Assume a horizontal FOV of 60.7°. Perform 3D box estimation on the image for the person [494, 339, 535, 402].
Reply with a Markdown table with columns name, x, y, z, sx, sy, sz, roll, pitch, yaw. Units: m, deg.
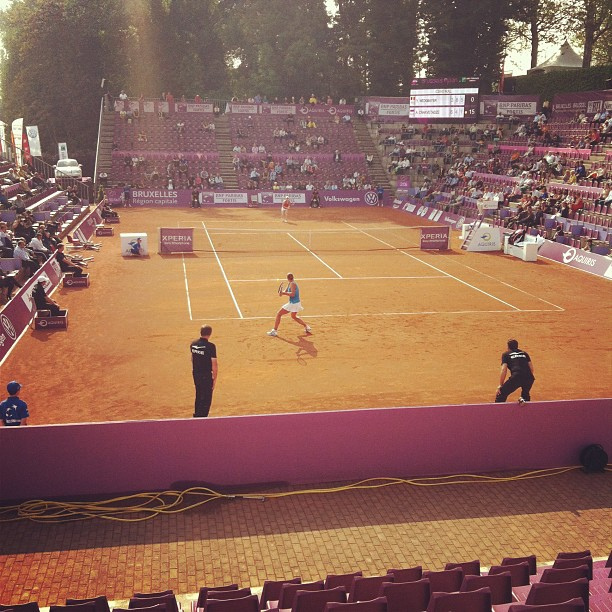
| name | x | y | z | sx | sy | sz | roll | pitch | yaw |
| --- | --- | --- | --- | --- | --- | --- | --- | --- | --- |
| person | 4.058 | 1.283 | 10.145 | 0.630 | 1.244 | 0.911 | 5 | 10 | 21 |

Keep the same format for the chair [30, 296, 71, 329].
| name | x | y | z | sx | sy | sz | roll | pitch | yaw |
| --- | --- | --- | --- | --- | --- | --- | --- | --- | --- |
| chair | -7.637 | 0.200 | 15.696 | 1.045 | 0.905 | 0.730 | -1 | 9 | -15 |

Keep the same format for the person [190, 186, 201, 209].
| name | x | y | z | sx | sy | sz | roll | pitch | yaw |
| --- | --- | --- | --- | --- | --- | --- | --- | --- | --- |
| person | -9.263 | -8.904 | 44.091 | 0.812 | 1.630 | 1.218 | -1 | 9 | -14 |

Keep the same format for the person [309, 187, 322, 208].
| name | x | y | z | sx | sy | sz | roll | pitch | yaw |
| --- | --- | --- | --- | --- | --- | --- | --- | --- | --- |
| person | 0.848 | -9.469 | 46.690 | 1.081 | 1.691 | 1.072 | 2 | 9 | 1 |

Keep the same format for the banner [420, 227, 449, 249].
| name | x | y | z | sx | sy | sz | roll | pitch | yaw |
| --- | --- | --- | --- | --- | --- | --- | --- | --- | --- |
| banner | 6.998 | -3.694 | 28.627 | 1.436 | 0.828 | 0.168 | -1 | 14 | -4 |

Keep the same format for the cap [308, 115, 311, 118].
| name | x | y | z | sx | sy | sz | roll | pitch | yaw |
| --- | --- | --- | --- | --- | --- | --- | --- | --- | --- |
| cap | 0.350 | -19.905 | 55.453 | 0.281 | 0.278 | 0.127 | -1 | 10 | -19 |

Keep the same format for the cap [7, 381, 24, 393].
| name | x | y | z | sx | sy | sz | roll | pitch | yaw |
| --- | --- | --- | --- | --- | --- | --- | --- | --- | --- |
| cap | -4.667 | 1.301 | 8.381 | 0.168 | 0.156 | 0.248 | -2 | 9 | -22 |

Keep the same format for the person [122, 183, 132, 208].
| name | x | y | z | sx | sy | sz | roll | pitch | yaw |
| --- | --- | --- | --- | --- | --- | --- | --- | --- | --- |
| person | -14.983 | -9.016 | 43.860 | 0.694 | 1.603 | 0.405 | -2 | 10 | -22 |

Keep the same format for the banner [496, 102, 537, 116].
| name | x | y | z | sx | sy | sz | roll | pitch | yaw |
| --- | --- | --- | --- | --- | --- | --- | --- | --- | --- |
| banner | 18.528 | -17.429 | 46.553 | 3.059 | 1.059 | 0.032 | 0 | 18 | -7 |

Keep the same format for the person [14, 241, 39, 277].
| name | x | y | z | sx | sy | sz | roll | pitch | yaw |
| --- | --- | --- | --- | --- | --- | --- | --- | --- | --- |
| person | -10.866 | -1.823 | 20.300 | 0.856 | 1.273 | 0.685 | 9 | 12 | 39 |

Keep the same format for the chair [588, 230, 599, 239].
| name | x | y | z | sx | sy | sz | roll | pitch | yaw |
| --- | --- | --- | --- | --- | --- | --- | --- | --- | --- |
| chair | 14.583 | -3.576 | 26.423 | 0.294 | 0.420 | 0.223 | 8 | 11 | 36 |

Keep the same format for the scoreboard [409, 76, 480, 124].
| name | x | y | z | sx | sy | sz | roll | pitch | yaw |
| --- | --- | --- | --- | --- | --- | --- | --- | --- | --- |
| scoreboard | 12.150 | -17.995 | 46.049 | 5.608 | 3.952 | 0.975 | 4 | 10 | 17 |

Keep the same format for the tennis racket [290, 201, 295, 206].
| name | x | y | z | sx | sy | sz | roll | pitch | yaw |
| --- | --- | --- | --- | --- | --- | --- | --- | --- | --- |
| tennis racket | -1.200 | -9.098 | 46.831 | 0.337 | 0.323 | 0.123 | -1 | 10 | -14 |

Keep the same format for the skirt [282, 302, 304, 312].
| name | x | y | z | sx | sy | sz | roll | pitch | yaw |
| --- | --- | --- | --- | --- | --- | --- | --- | --- | --- |
| skirt | -0.405 | 0.053 | 15.309 | 0.524 | 0.304 | 0.296 | 2 | 8 | 5 |

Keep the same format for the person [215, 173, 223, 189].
| name | x | y | z | sx | sy | sz | roll | pitch | yaw |
| --- | --- | --- | --- | --- | --- | --- | --- | --- | --- |
| person | -7.903 | -11.230 | 47.555 | 0.695 | 1.293 | 2.314 | 0 | 8 | -9 |

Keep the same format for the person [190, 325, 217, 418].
| name | x | y | z | sx | sy | sz | roll | pitch | yaw |
| --- | --- | --- | --- | --- | --- | --- | --- | --- | --- |
| person | -1.845 | 1.222 | 9.432 | 0.433 | 1.691 | 0.537 | 0 | 10 | -11 |

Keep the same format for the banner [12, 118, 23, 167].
| name | x | y | z | sx | sy | sz | roll | pitch | yaw |
| --- | --- | --- | --- | --- | --- | --- | --- | --- | --- |
| banner | -22.654 | -12.783 | 41.280 | 0.681 | 3.063 | 5.016 | -4 | 9 | -29 |
